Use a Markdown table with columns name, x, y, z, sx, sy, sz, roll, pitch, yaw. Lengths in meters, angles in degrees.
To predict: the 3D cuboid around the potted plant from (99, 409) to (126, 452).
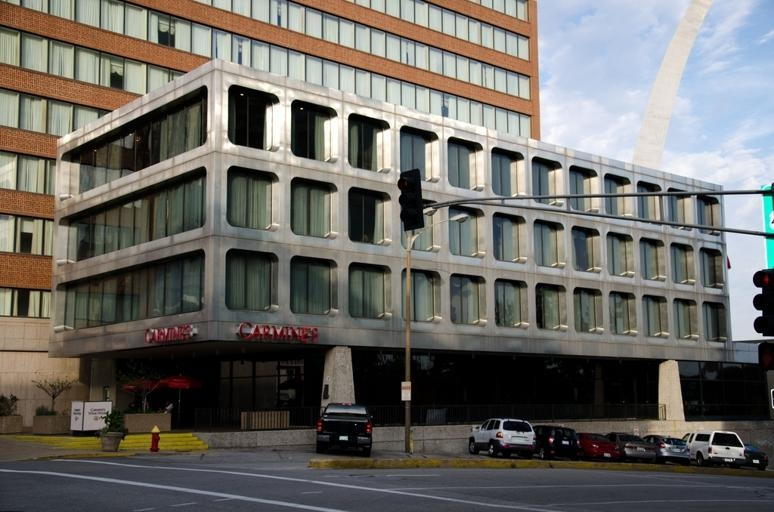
| name | x | y | z | sx | sy | sz | roll | pitch | yaw |
| --- | --- | --- | --- | --- | --- | --- | --- | --- | --- |
| potted plant | -14.645 | 9.278 | 49.559 | 1.231 | 2.345 | 2.397 | 2 | -17 | -17 |

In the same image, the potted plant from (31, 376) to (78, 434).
| name | x | y | z | sx | sy | sz | roll | pitch | yaw |
| --- | --- | --- | --- | --- | --- | --- | --- | --- | --- |
| potted plant | -23.494 | 10.477 | 67.016 | 3.210 | 3.757 | 2.693 | -1 | -4 | 13 |

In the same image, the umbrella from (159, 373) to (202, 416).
| name | x | y | z | sx | sy | sz | roll | pitch | yaw |
| --- | --- | --- | --- | --- | --- | --- | --- | --- | --- |
| umbrella | -14.152 | 9.569 | 63.921 | 2.946 | 3.148 | 2.935 | 15 | -15 | -40 |
